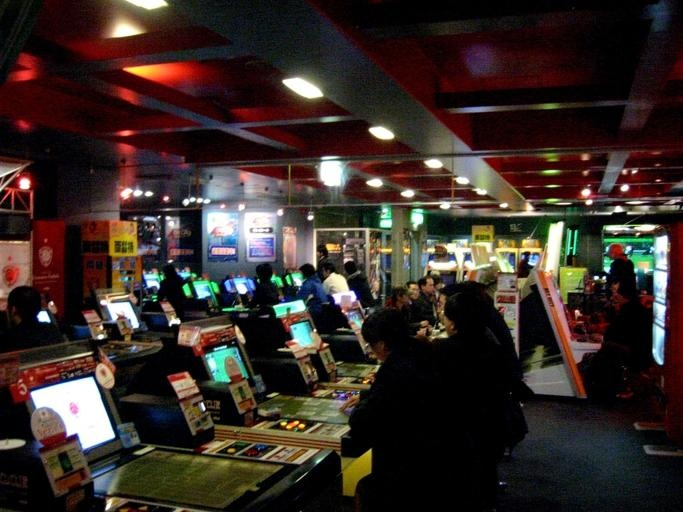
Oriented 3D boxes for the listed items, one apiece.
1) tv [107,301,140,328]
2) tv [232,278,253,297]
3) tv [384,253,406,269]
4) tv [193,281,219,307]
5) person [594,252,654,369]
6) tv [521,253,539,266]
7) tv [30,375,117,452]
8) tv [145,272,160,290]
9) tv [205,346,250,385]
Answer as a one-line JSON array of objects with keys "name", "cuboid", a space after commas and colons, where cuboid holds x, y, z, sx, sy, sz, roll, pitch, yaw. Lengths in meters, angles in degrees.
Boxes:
[{"name": "tv", "cuboid": [-2.607, 0.704, 6.245, 0.202, 0.260, 0.347, -24, -4, 18]}, {"name": "tv", "cuboid": [-2.495, 0.793, 13.176, 0.580, 0.435, 0.389, -4, 16, 27]}, {"name": "tv", "cuboid": [1.556, 0.173, 15.823, 0.574, 0.539, 0.951, -1, -1, 23]}, {"name": "tv", "cuboid": [-2.856, 0.799, 10.992, 0.183, 0.450, 0.515, -26, 8, 13]}, {"name": "person", "cuboid": [4.225, 0.822, 7.616, 0.654, 1.556, 1.184, 9, 4, 29]}, {"name": "tv", "cuboid": [4.527, 0.096, 12.590, 0.437, 0.160, 0.310, 3, 34, 23]}, {"name": "tv", "cuboid": [-1.427, 0.843, 2.912, 0.680, 0.503, 0.114, 7, 12, 20]}, {"name": "tv", "cuboid": [-4.475, 0.608, 12.423, 0.359, 0.282, 0.582, 10, -1, -26]}, {"name": "tv", "cuboid": [-0.832, 0.783, 3.788, 0.336, 0.246, 0.078, -4, -12, -45]}]
